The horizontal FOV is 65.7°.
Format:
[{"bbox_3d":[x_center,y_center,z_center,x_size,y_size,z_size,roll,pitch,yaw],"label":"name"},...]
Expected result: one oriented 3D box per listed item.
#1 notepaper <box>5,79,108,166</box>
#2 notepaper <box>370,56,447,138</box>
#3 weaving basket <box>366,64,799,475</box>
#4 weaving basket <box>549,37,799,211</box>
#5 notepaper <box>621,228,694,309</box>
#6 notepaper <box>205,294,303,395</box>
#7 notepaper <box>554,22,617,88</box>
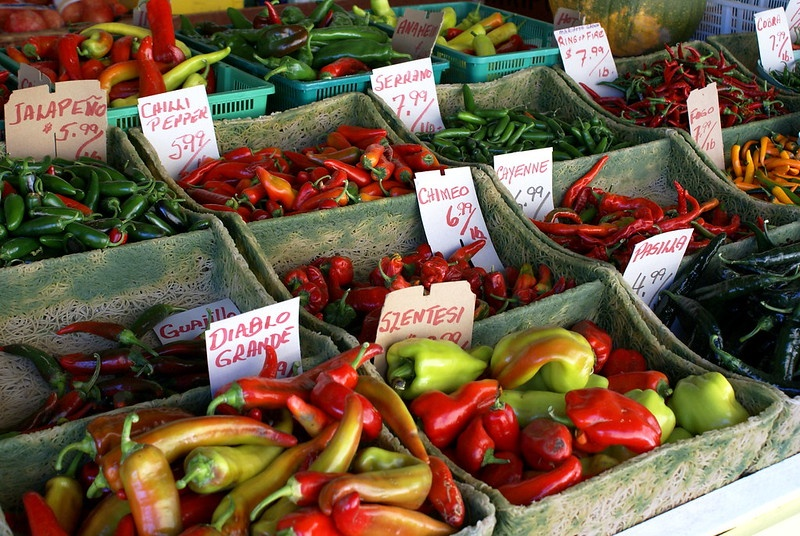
[{"bbox_3d":[-2.095,-0.874,3.770,0.558,0.543,0.045,-20,44,-31],"label":"notepaper"},{"bbox_3d":[0.079,-1.330,4.774,0.533,0.204,0.652,-16,86,-9],"label":"notepaper"},{"bbox_3d":[1.258,0.233,4.567,1.885,0.893,3.273,-21,49,-22],"label":"weaving basket"},{"bbox_3d":[2.505,-1.357,5.999,2.058,0.701,1.410,38,53,24],"label":"weaving basket"},{"bbox_3d":[1.545,0.025,3.701,0.418,0.459,0.033,-23,45,-18],"label":"notepaper"},{"bbox_3d":[-0.654,0.369,2.833,0.350,0.345,0.028,-23,35,-29],"label":"notepaper"},{"bbox_3d":[1.615,-1.854,5.438,0.474,0.633,0.031,-30,25,-11],"label":"notepaper"}]
